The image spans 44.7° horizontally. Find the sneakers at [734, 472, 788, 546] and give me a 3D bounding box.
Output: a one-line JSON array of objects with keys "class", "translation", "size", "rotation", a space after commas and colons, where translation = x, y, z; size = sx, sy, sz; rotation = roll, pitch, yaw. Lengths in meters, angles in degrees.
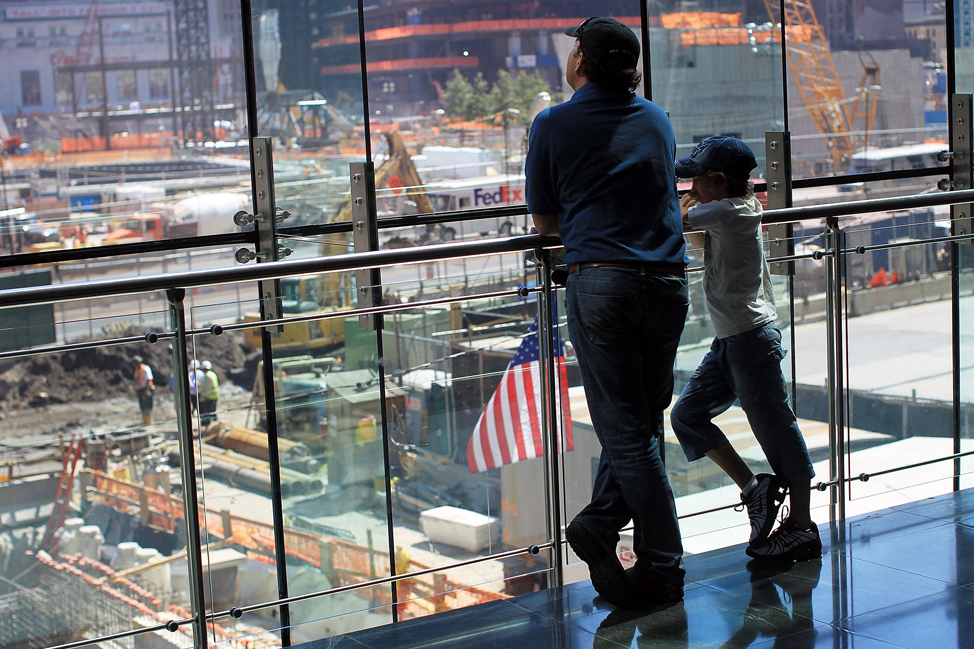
[{"class": "sneakers", "translation": [1.295, 0.833, 5.560], "size": [0.246, 0.381, 0.130], "rotation": [6, 13, 2]}]

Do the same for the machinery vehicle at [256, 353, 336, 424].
[{"class": "machinery vehicle", "translation": [-1.299, 0.476, 8.579], "size": [0.413, 0.546, 0.394], "rotation": [-10, 9, -25]}]

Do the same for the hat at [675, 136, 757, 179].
[{"class": "hat", "translation": [1.051, -0.777, 5.555], "size": [0.409, 0.218, 0.291], "rotation": [6, 11, 11]}]

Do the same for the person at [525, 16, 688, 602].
[{"class": "person", "translation": [0.561, -0.040, 5.231], "size": [0.666, 2.551, 0.356], "rotation": [-5, 8, 3]}]

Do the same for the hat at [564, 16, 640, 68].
[{"class": "hat", "translation": [0.496, -1.304, 5.307], "size": [0.362, 0.184, 0.285], "rotation": [10, 35, 28]}]
